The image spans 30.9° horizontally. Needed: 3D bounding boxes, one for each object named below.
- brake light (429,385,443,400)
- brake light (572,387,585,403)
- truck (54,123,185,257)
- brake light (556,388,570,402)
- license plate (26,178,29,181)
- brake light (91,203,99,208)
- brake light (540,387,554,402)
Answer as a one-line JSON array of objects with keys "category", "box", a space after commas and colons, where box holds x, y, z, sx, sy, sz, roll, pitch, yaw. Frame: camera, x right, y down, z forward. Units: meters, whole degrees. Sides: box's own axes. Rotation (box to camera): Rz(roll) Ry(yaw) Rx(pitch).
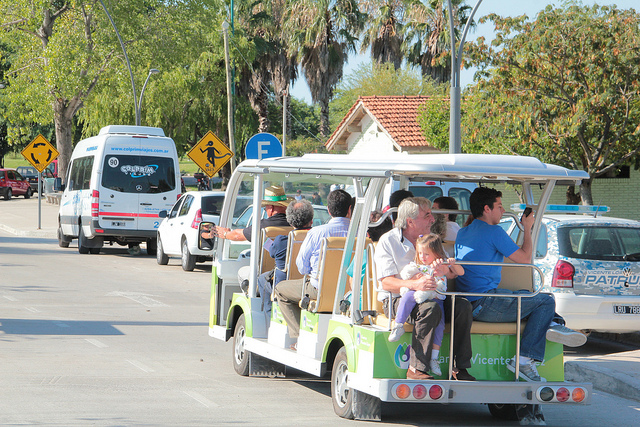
[{"category": "brake light", "box": [1.787, 2.712, 17.552, 0.230, 0.239, 0.047, -2, -5, 3]}, {"category": "brake light", "box": [4.096, 2.825, 17.959, 0.204, 0.198, 0.203, 0, -4, 4]}, {"category": "truck", "box": [-6.299, -0.749, 34.108, 2.618, 3.291, 7.616, 0, 1, -28]}, {"category": "brake light", "box": [3.841, 2.821, 17.910, 0.225, 0.214, 0.039, 3, -2, -22]}, {"category": "license plate", "box": [-18.635, -2.146, 72.320, 0.165, 0.152, 0.277, -1, 6, -30]}, {"category": "brake light", "box": [-6.517, -0.229, 32.877, 0.131, 0.095, 0.135, -2, 5, -38]}, {"category": "brake light", "box": [3.561, 2.793, 17.847, 0.168, 0.169, 0.027, 45, -5, 14]}]
